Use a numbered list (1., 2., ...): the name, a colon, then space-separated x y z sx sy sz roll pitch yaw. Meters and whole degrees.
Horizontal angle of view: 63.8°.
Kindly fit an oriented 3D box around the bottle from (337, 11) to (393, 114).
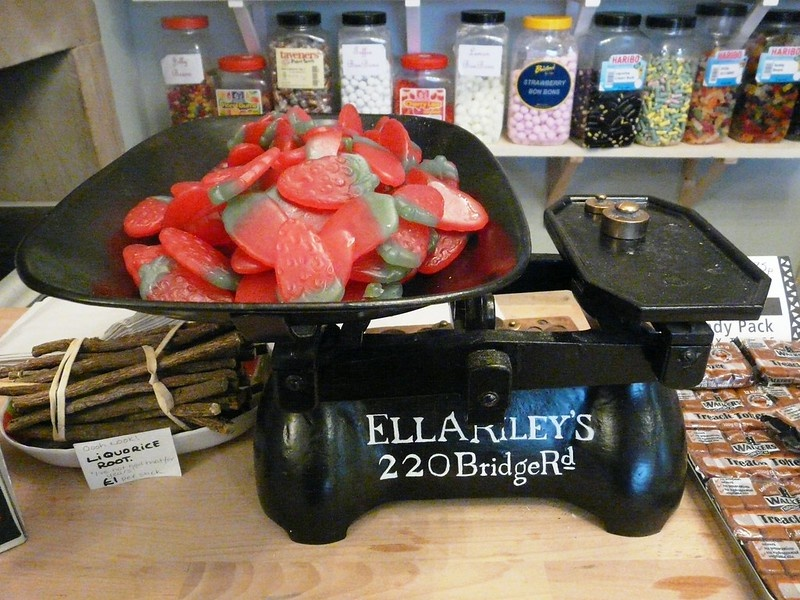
1. bottle: -0.124 -0.630 1.739 0.219 0.258 0.193 6 25 10

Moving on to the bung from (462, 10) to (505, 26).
1. bung: 0.219 -0.726 1.653 0.096 0.032 0.133 14 30 24

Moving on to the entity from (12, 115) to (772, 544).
1. entity: 0.007 0.033 1.042 0.893 0.419 0.602 0 29 0

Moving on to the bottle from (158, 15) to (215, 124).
1. bottle: -0.598 -0.666 1.845 0.164 0.328 0.131 -7 57 -6

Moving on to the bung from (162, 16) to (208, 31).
1. bung: -0.592 -0.760 1.770 0.119 0.041 0.112 -4 27 -9

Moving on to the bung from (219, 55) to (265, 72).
1. bung: -0.427 -0.636 1.736 0.122 0.042 0.098 -4 28 -10

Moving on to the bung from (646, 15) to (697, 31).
1. bung: 0.704 -0.725 1.679 0.115 0.036 0.157 11 28 19

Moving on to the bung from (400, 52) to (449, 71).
1. bung: 0.062 -0.635 1.723 0.116 0.045 0.126 0 27 -1

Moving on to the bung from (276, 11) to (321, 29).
1. bung: -0.258 -0.730 1.676 0.085 0.036 0.101 18 32 30

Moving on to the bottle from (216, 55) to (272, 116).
1. bottle: -0.414 -0.583 1.794 0.183 0.144 0.140 6 25 18

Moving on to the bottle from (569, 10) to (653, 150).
1. bottle: 0.560 -0.600 1.747 0.222 0.310 0.218 0 24 0

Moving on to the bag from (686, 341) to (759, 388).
1. bag: 0.614 0.121 1.247 0.118 0.026 0.107 5 43 8
